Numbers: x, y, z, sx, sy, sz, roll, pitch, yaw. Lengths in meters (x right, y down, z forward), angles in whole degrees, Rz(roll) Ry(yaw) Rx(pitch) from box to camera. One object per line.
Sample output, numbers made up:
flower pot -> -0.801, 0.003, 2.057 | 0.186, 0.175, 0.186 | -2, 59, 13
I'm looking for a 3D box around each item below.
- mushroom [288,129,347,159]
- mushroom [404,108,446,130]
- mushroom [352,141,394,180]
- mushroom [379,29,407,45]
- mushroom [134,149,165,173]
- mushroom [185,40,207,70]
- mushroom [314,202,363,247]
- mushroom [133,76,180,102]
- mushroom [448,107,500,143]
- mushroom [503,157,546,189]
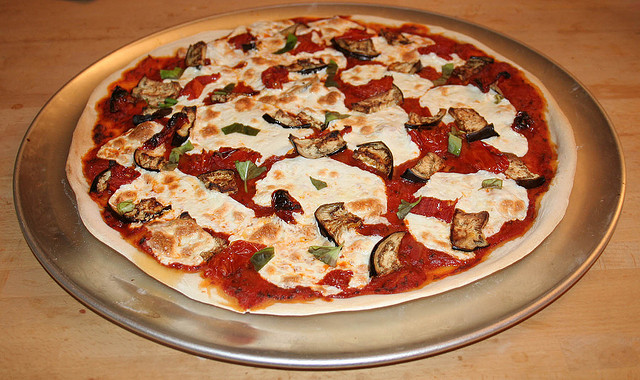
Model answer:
mushroom -> -0.007, -0.372, 5.053 | 0.376, 0.115, 0.244 | -19, 52, 0
mushroom -> 0.902, -0.612, 5.185 | 0.288, 0.074, 0.183 | 3, 61, 16
mushroom -> 0.475, -0.304, 5.129 | 0.111, 0.433, 0.317 | 33, 56, 12
mushroom -> 0.732, -1.513, 5.867 | 0.209, 0.062, 0.181 | -9, 67, -19
mushroom -> -1.454, -0.254, 5.070 | 0.206, 0.054, 0.257 | -33, 79, -13
mushroom -> -1.188, -1.297, 5.702 | 0.234, 0.077, 0.275 | -24, 53, 11
mushroom -> 0.137, 0.282, 4.771 | 0.351, 0.086, 0.341 | 33, 58, 16
mushroom -> -1.478, -0.910, 5.554 | 0.395, 0.362, 0.104 | -6, 78, -23
mushroom -> 1.328, -0.619, 5.161 | 0.304, 0.119, 0.343 | -9, 47, -14
mushroom -> 1.670, -0.152, 4.924 | 0.197, 0.082, 0.305 | -34, 61, -6
